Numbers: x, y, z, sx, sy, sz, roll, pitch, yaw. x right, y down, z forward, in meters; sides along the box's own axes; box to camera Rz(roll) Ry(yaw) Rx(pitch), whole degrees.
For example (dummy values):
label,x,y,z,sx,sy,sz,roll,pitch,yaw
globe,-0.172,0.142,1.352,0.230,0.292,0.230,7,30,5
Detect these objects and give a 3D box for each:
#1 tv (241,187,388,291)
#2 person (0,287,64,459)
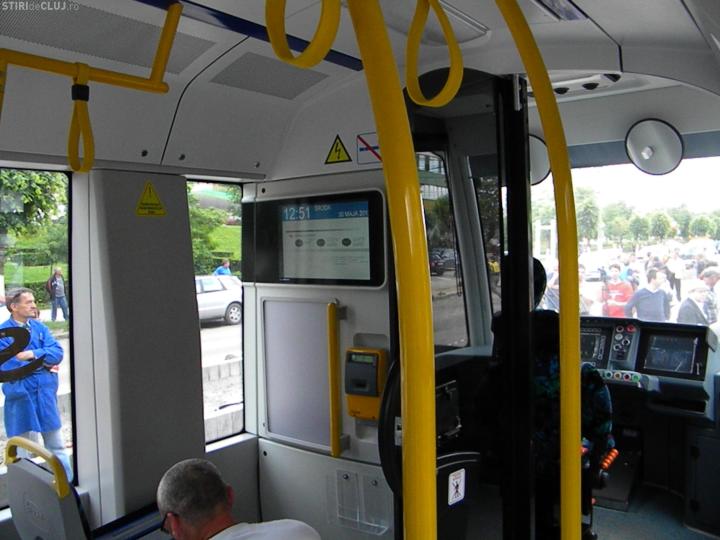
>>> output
label,x,y,z,sx,sy,sz,roll,pitch,yaw
tv,-0.344,-0.225,4.132,1.226,0.670,0.065,1,2,32
person,-2.102,0.691,3.525,0.137,1.170,0.428,0,2,24
